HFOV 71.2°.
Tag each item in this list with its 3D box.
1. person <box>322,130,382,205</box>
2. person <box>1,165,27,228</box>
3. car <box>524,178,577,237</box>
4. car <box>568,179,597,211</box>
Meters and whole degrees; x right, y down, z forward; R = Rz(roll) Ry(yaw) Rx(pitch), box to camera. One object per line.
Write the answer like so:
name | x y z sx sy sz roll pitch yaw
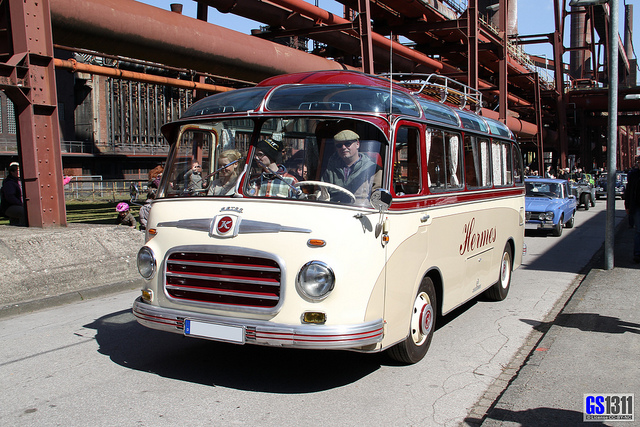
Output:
person | 0.362 -0.548 5.108 0.610 0.798 0.316 4 7 31
person | -8.762 -0.590 12.645 0.501 1.592 3.099 -4 7 -35
car | 9.365 -0.414 18.165 2.246 1.821 4.897 -1 1 31
car | 15.523 -1.143 26.470 1.617 1.642 3.154 6 13 38
